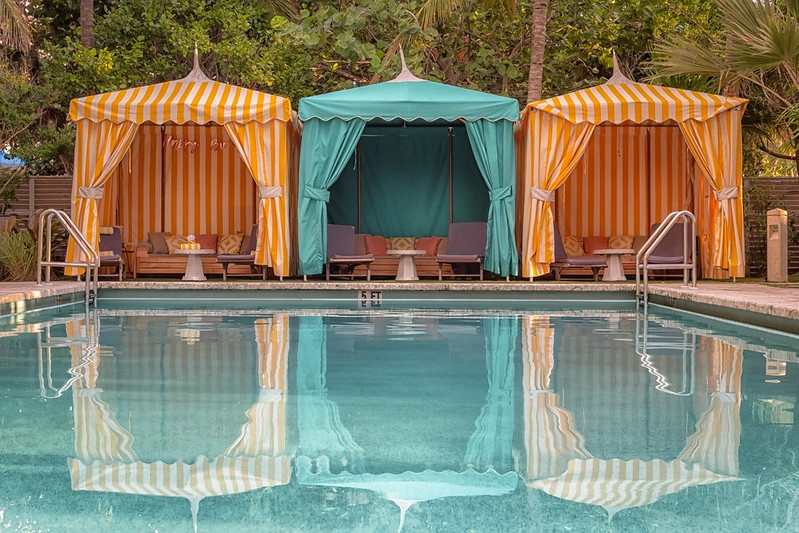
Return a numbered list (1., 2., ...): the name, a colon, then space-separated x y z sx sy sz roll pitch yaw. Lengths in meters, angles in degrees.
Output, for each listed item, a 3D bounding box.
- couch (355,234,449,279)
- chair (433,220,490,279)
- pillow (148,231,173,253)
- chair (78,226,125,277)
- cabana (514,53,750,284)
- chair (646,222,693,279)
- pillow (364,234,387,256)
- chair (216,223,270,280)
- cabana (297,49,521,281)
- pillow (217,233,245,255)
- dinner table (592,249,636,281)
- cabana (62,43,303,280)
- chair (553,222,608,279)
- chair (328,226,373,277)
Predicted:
1. couch: 0.069 -0.174 15.015 1.559 0.874 0.755 1 -3 -12
2. chair: 0.972 -0.252 13.256 0.722 0.874 1.002 1 0 20
3. pillow: -4.209 -0.458 15.260 0.119 0.381 0.386 -14 -1 27
4. chair: -4.481 -0.300 13.312 0.549 0.737 0.827 0 1 -8
5. cabana: 3.653 -1.684 13.979 3.615 3.097 3.830 0 5 21
6. chair: 4.024 -0.278 12.861 0.786 1.036 0.960 0 -3 17
7. pillow: -0.389 -0.375 14.701 0.362 0.355 0.105 9 -25 -45
8. chair: -2.497 -0.419 14.248 0.792 0.971 1.502 -2 11 -2
9. cabana: 0.021 -1.644 13.906 3.198 2.990 2.976 -1 12 -3
10. pillow: -3.047 -0.443 15.622 0.390 0.389 0.128 7 -18 27
11. dinner table: 3.410 -0.067 13.724 0.692 0.520 0.655 -10 10 -43
12. cabana: -3.696 -1.678 14.330 3.457 3.236 2.928 -1 2 -16
13. chair: 2.821 -0.217 13.749 1.011 0.792 1.010 3 2 -16
14. chair: -0.834 -0.254 13.124 0.638 0.806 0.921 0 3 -24
